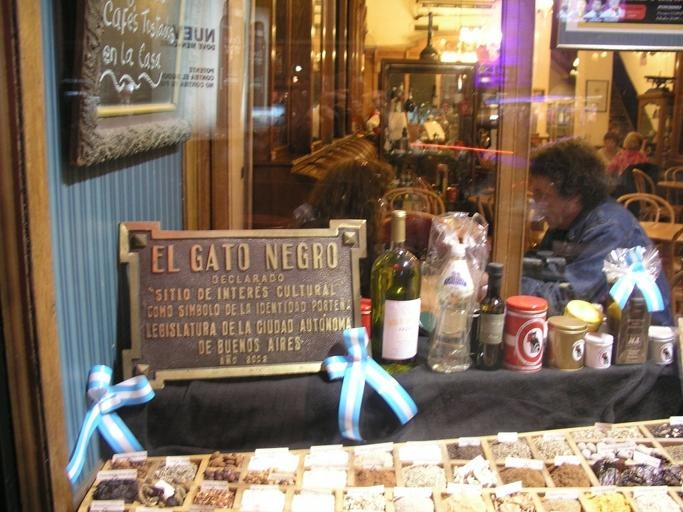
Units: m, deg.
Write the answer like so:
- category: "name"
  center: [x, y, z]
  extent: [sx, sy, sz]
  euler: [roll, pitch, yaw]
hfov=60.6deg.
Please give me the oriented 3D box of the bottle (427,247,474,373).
- category: "bottle"
  center: [0.298, 0.144, 1.592]
  extent: [0.127, 0.349, 0.055]
  euler: [-5, 14, -12]

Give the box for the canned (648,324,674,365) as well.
- category: "canned"
  center: [0.912, 0.256, 1.716]
  extent: [0.089, 0.099, 0.098]
  euler: [-1, 6, 2]

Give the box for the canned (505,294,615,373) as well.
- category: "canned"
  center: [0.606, 0.222, 1.624]
  extent: [0.193, 0.134, 0.079]
  euler: [0, 8, -12]
